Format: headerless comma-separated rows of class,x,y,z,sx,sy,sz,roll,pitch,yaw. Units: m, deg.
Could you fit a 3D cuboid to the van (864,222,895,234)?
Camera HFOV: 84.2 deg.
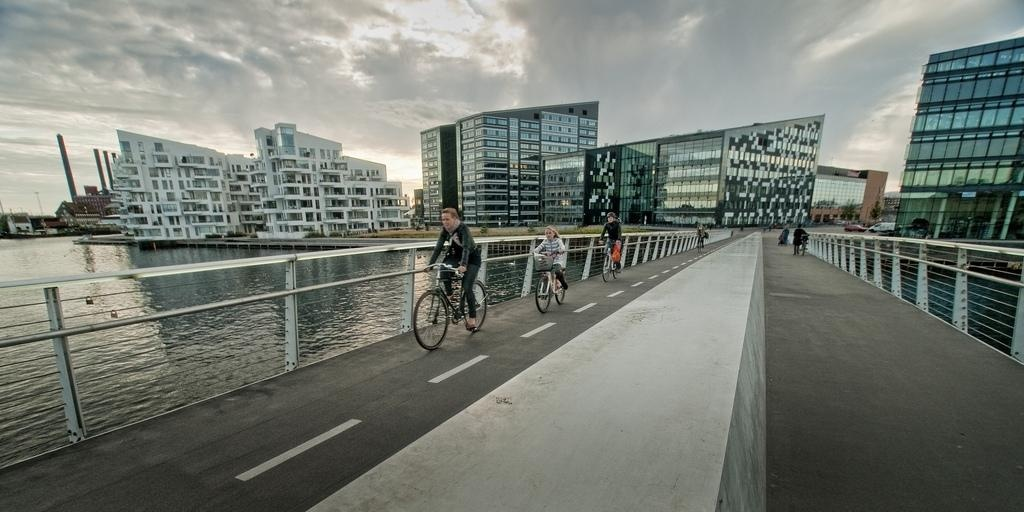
van,66.435,-5.123,101.160,3.401,1.666,5.862,4,9,22

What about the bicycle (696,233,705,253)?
bicycle,25.604,-2.052,76.649,0.878,2.149,1.543,4,11,17
